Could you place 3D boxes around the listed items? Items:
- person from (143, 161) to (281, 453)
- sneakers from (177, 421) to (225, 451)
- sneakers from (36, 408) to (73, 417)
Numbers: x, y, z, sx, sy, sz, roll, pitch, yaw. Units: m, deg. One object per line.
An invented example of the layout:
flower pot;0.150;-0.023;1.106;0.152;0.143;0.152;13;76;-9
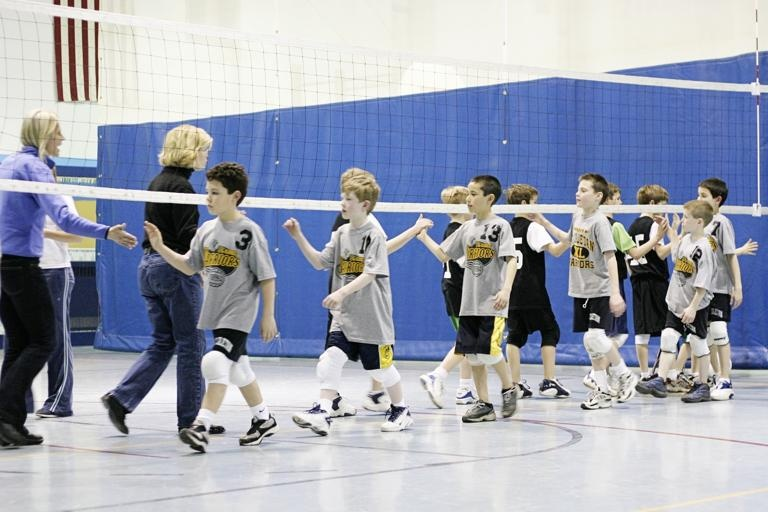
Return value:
person;-1.094;0.348;5.037;0.723;1.938;0.562;-1;4;-16
sneakers;-1.193;1.211;4.986;0.156;0.201;0.425;-6;-21;29
sneakers;-2.718;1.315;6.203;0.277;0.110;0.098;7;-9;-23
